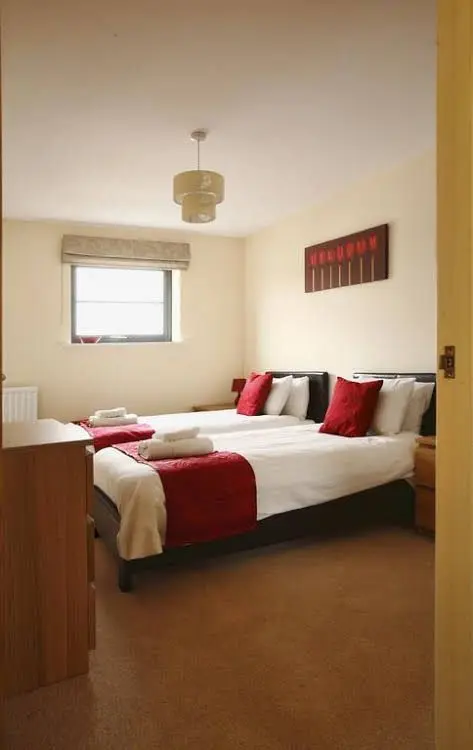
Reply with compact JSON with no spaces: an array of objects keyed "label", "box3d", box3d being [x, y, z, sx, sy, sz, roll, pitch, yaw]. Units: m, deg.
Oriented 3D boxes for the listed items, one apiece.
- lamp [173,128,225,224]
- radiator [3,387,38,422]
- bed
[{"label":"lamp","box3d":[-0.224,-1.247,3.512,0.275,0.510,0.294,-3,4,20]},{"label":"radiator","box3d":[-1.822,0.244,4.746,0.027,0.251,0.276,0,0,40]},{"label":"bed","box3d":[0.128,0.535,2.958,1.472,0.838,1.009,1,-3,-24]}]
